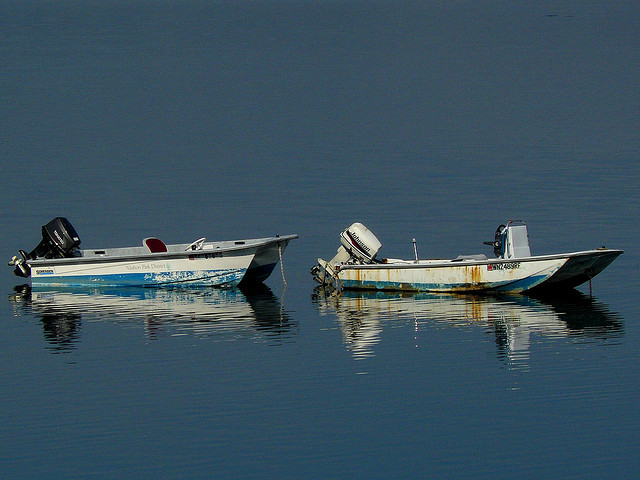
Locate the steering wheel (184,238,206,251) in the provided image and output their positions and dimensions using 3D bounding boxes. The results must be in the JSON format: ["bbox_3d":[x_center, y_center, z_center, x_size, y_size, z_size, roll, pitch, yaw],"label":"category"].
[{"bbox_3d":[-4.228,0.089,49.081,0.708,0.167,0.490,-15,0,8],"label":"steering wheel"}]

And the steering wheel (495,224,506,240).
[{"bbox_3d":[5.801,-0.342,45.025,0.349,0.363,0.131,11,0,25],"label":"steering wheel"}]

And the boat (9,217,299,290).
[{"bbox_3d":[-5.712,0.684,49.781,10.052,1.858,2.002,1,-1,2],"label":"boat"}]
